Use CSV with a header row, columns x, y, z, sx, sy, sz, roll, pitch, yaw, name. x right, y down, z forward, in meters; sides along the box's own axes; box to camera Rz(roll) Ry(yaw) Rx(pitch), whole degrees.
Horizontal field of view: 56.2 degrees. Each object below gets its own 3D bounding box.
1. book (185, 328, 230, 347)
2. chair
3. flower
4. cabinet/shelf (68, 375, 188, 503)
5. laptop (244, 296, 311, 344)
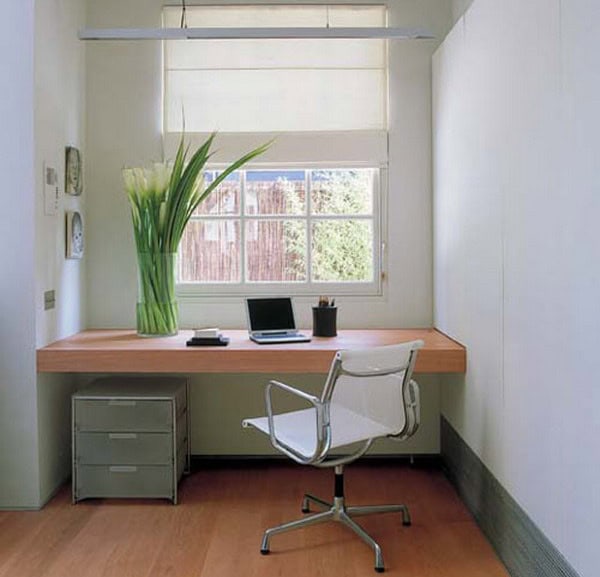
x,y,z,sx,sy,sz,roll,pitch,yaw,name
-0.491,0.256,2.982,0.219,0.080,0.100,-1,7,-5,book
0.226,0.701,2.795,0.821,1.212,0.832,-3,5,-44,chair
-0.710,-0.309,3.611,0.836,1.462,1.058,1,2,10,flower
-0.906,0.810,3.100,0.429,0.598,0.630,-1,-5,1,cabinet/shelf
-0.144,0.164,3.166,0.244,0.223,0.263,0,1,-24,laptop
